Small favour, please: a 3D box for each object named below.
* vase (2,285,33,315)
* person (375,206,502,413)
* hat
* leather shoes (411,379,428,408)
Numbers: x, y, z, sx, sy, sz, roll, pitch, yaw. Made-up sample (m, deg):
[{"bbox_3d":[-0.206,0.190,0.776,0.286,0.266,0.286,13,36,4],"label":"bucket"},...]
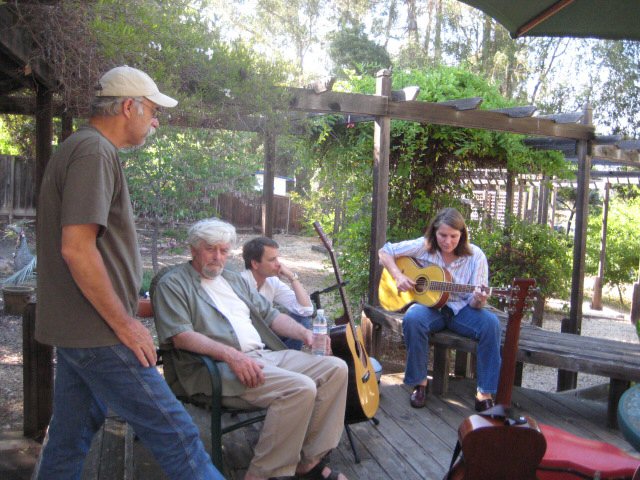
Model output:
[{"bbox_3d":[-4.069,0.794,7.829,0.309,0.284,0.357,17,12,-8],"label":"vase"},{"bbox_3d":[1.097,0.573,5.312,1.093,1.728,0.733,3,5,19],"label":"person"},{"bbox_3d":[-1.064,-0.867,3.365,0.304,0.184,0.209,-2,11,-18],"label":"hat"},{"bbox_3d":[0.873,1.335,5.138,0.153,0.223,0.139,2,4,-1],"label":"leather shoes"}]
